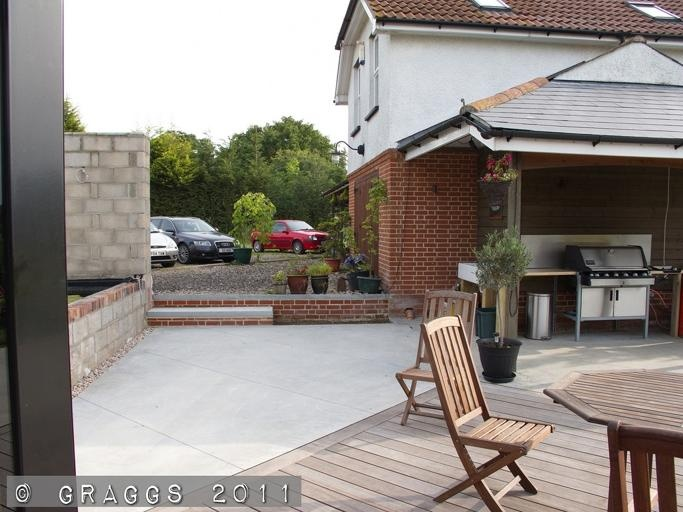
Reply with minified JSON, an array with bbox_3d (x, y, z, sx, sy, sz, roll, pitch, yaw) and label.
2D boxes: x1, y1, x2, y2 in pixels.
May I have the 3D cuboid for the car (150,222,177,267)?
[{"bbox_3d":[-4.988,-0.190,16.726,0.687,1.026,1.508,-2,5,-16],"label":"car"}]

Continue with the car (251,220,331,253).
[{"bbox_3d":[-1.652,-0.685,22.108,2.428,0.973,1.453,-1,0,38],"label":"car"}]

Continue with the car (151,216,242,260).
[{"bbox_3d":[-4.244,-0.508,17.495,1.240,0.893,2.846,-1,3,-40],"label":"car"}]

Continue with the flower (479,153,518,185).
[{"bbox_3d":[2.188,-1.194,8.260,0.454,0.404,0.537,1,5,-1],"label":"flower"}]

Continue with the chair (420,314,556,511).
[{"bbox_3d":[1.022,1.098,4.234,0.790,1.288,0.756,3,6,28],"label":"chair"}]
